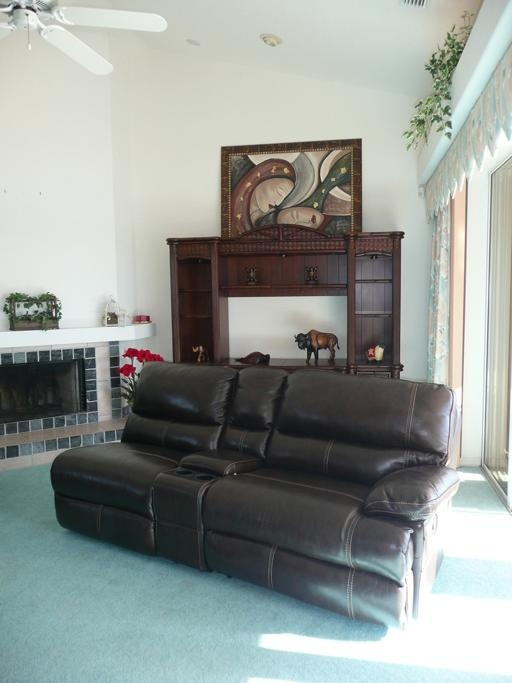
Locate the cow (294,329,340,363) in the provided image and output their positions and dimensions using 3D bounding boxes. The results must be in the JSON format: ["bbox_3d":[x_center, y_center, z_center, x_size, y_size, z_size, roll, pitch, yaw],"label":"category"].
[{"bbox_3d":[0.519,0.043,4.858,0.344,0.288,0.306,0,4,26],"label":"cow"}]

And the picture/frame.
[{"bbox_3d":[0.379,-1.368,5.034,1.113,0.749,0.023,1,0,15],"label":"picture/frame"}]

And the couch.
[{"bbox_3d":[0.012,0.619,2.720,1.878,0.889,0.741,1,5,36],"label":"couch"}]

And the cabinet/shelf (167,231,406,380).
[{"bbox_3d":[0.329,-0.337,4.846,1.457,1.084,0.289,0,2,9],"label":"cabinet/shelf"}]

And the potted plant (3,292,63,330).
[{"bbox_3d":[-1.916,-0.343,4.727,0.532,0.355,0.299,-2,8,-31],"label":"potted plant"}]
